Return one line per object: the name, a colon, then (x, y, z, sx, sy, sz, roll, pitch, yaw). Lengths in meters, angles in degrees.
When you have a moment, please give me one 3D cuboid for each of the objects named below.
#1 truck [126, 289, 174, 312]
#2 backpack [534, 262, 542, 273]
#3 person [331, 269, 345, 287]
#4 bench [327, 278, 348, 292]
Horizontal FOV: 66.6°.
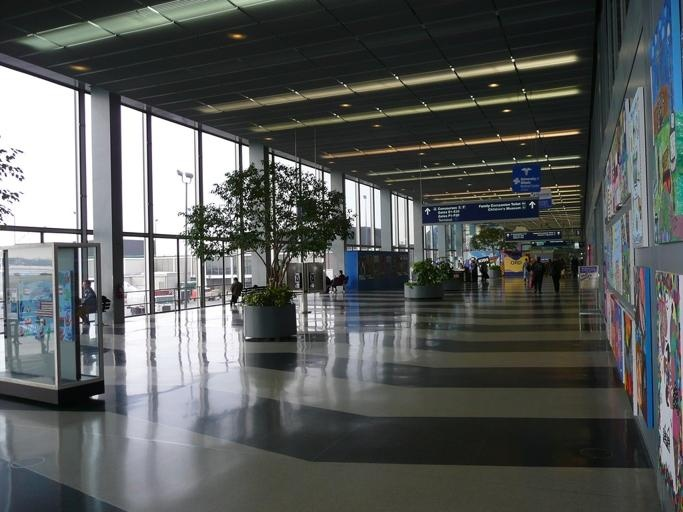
truck: (-8.001, 1.891, 21.779, 0.626, 1.092, 3.028, -2, 0, 10)
backpack: (10.564, 0.642, 27.941, 0.510, 0.501, 0.280, -1, -10, 12)
person: (-0.170, 1.470, 33.281, 0.985, 1.195, 0.887, -2, -8, 16)
bench: (-0.267, 1.877, 33.322, 1.017, 1.216, 0.888, 1, -6, 2)
